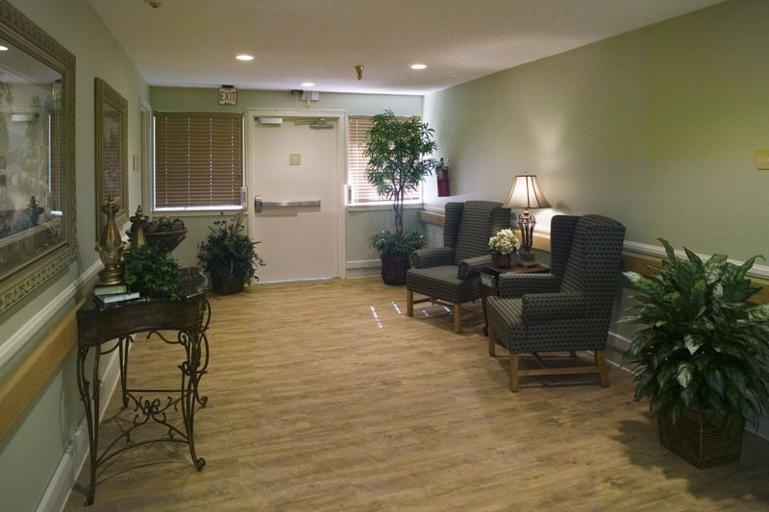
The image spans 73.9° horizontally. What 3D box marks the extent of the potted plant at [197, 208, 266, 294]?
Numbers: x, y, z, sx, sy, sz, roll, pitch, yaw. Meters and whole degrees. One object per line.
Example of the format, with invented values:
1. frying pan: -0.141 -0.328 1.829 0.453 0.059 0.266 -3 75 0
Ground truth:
1. potted plant: -2.280 0.007 7.434 0.786 0.984 0.822 3 -4 7

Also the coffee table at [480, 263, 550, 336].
1. coffee table: 1.483 0.645 5.532 0.614 0.779 0.797 -9 -26 1

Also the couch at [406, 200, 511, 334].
1. couch: 0.919 0.047 6.353 1.023 1.285 0.990 -12 15 -38

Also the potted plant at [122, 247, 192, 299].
1. potted plant: -1.549 0.165 3.542 0.339 0.212 0.380 26 3 35

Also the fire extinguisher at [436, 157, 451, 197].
1. fire extinguisher: 0.829 -1.142 7.648 0.183 0.515 0.148 -8 6 -23

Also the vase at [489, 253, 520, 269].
1. vase: 1.335 0.057 5.640 0.211 0.147 0.208 -3 -9 14

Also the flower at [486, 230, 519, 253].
1. flower: 1.301 -0.167 5.632 0.294 0.292 0.285 -6 11 -34
